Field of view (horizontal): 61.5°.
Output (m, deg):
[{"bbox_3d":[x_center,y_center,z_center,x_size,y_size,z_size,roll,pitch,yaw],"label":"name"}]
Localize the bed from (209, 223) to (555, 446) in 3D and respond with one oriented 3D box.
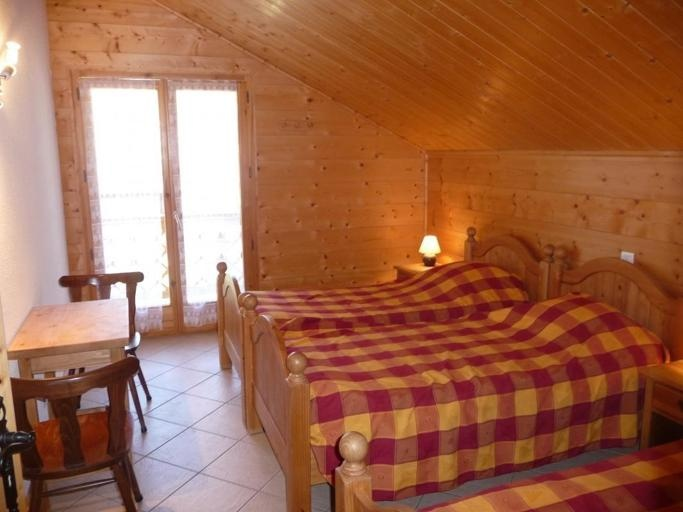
[{"bbox_3d":[0.291,0.509,4.562,2.520,1.261,1.319,-4,12,-15],"label":"bed"}]
